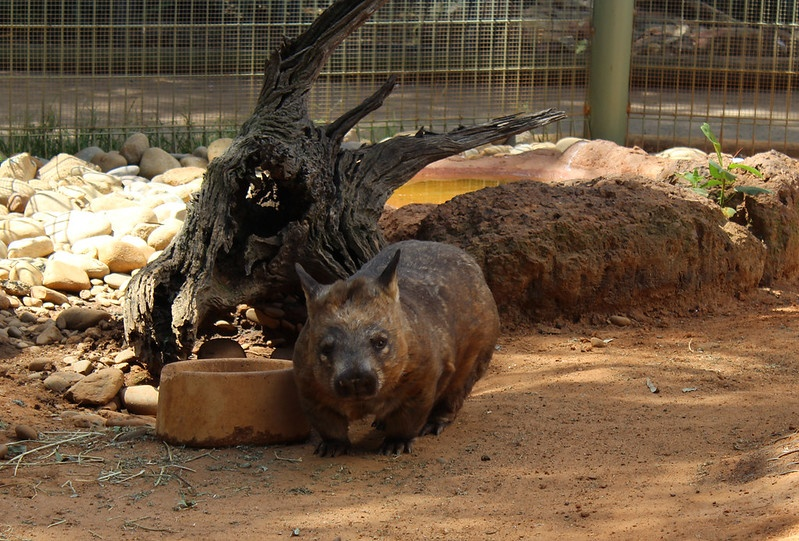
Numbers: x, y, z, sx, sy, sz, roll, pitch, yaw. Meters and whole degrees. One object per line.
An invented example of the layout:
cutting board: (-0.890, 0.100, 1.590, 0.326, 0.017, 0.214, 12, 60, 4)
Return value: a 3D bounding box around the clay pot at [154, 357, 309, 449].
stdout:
clay pot: (-1.601, 1.254, 11.822, 0.933, 0.460, 0.961, -1, -1, 0)
